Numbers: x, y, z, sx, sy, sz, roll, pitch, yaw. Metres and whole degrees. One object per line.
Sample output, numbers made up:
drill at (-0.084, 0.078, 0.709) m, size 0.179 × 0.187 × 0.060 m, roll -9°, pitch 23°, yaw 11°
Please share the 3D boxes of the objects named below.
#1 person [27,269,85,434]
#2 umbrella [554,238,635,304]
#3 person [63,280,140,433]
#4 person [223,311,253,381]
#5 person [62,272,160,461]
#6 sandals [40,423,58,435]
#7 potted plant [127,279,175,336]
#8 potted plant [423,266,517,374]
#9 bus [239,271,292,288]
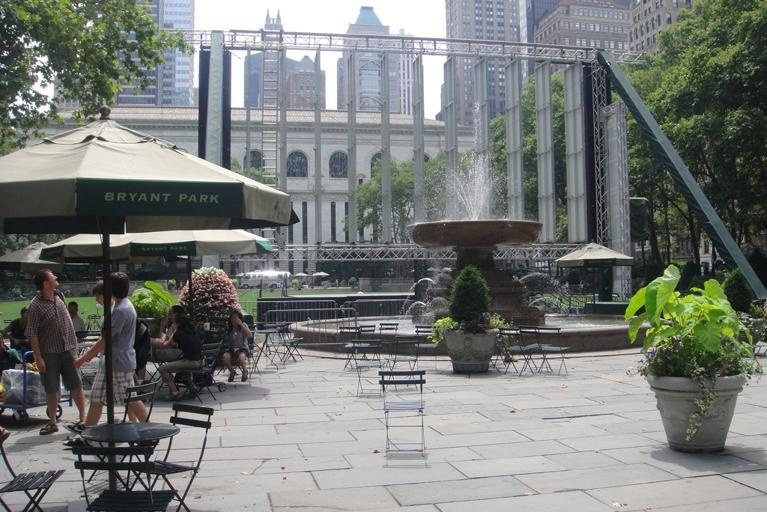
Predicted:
person at (-6.522, 1.998, 18.759) m, size 1.200 × 3.319 × 1.192 m, roll 2°, pitch -3°, yaw 6°
umbrella at (7.959, 0.025, 34.693) m, size 2.303 × 0.899 × 2.143 m, roll 3°, pitch 5°, yaw 44°
person at (-5.141, 1.845, 17.644) m, size 1.316 × 2.814 × 0.950 m, roll 0°, pitch -1°, yaw 3°
person at (-3.613, 2.168, 22.907) m, size 0.709 × 1.762 × 0.961 m, roll -1°, pitch 1°, yaw -28°
person at (-5.282, 1.924, 17.830) m, size 1.569 × 2.999 × 1.116 m, roll 4°, pitch -6°, yaw -29°
sandals at (-6.682, 3.464, 18.616) m, size 0.417 × 0.169 × 0.155 m, roll 4°, pitch -4°, yaw -6°
potted plant at (-5.694, 1.247, 22.896) m, size 0.937 × 1.807 × 1.394 m, roll 0°, pitch 13°, yaw 1°
potted plant at (2.352, 1.801, 24.275) m, size 2.450 × 3.279 × 2.417 m, roll -2°, pitch -10°, yaw 13°
bus at (-8.161, 1.637, 63.701) m, size 4.117 × 1.541 × 1.504 m, roll 0°, pitch -2°, yaw 15°
